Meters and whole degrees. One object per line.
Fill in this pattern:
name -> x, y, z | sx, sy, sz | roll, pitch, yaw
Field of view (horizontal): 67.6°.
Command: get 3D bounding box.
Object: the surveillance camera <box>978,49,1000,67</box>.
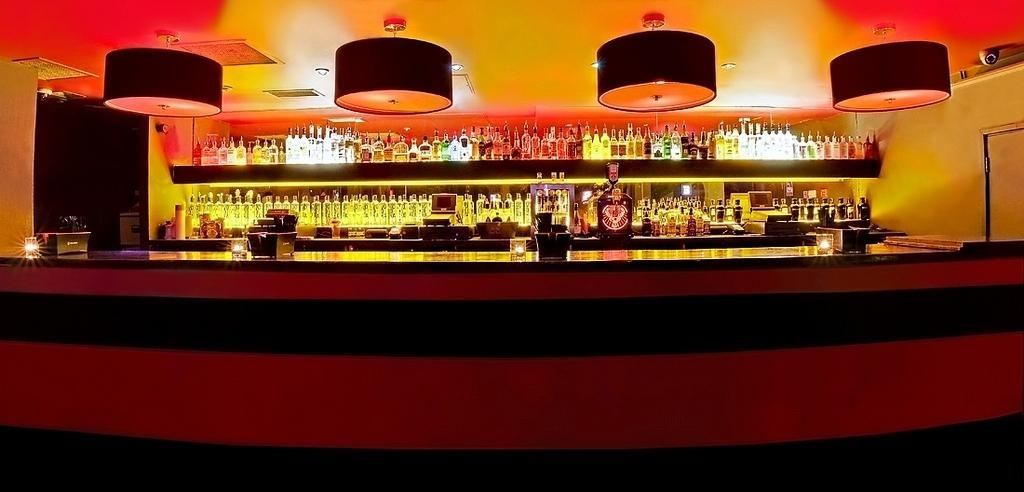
surveillance camera -> 6.015, -2.387, 9.641 | 0.221, 0.160, 0.201 | 2, 5, 34

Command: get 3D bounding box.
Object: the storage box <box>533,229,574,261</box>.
storage box -> 0.444, 0.010, 8.184 | 0.298, 0.198, 0.368 | 3, 3, 44

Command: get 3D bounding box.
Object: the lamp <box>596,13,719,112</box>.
lamp -> 1.689, -2.122, 9.056 | 1.382, 0.809, 1.381 | -8, -10, 42

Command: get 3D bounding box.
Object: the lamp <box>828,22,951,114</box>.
lamp -> 4.585, -1.979, 9.282 | 1.436, 0.472, 1.280 | -2, -4, 5

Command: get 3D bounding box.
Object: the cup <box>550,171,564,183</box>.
cup -> 0.580, -0.963, 10.730 | 0.219, 0.164, 0.129 | 6, 12, 27

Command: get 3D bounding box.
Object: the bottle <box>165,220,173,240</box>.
bottle -> -4.935, -0.229, 10.977 | 0.122, 0.250, 0.176 | -3, 4, -27

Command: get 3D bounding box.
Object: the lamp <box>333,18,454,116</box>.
lamp -> -1.453, -2.174, 9.215 | 1.541, 0.862, 1.413 | -1, -4, 16

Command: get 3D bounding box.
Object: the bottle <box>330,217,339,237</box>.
bottle -> -2.559, -0.252, 10.988 | 0.129, 0.258, 0.308 | -2, 4, -14

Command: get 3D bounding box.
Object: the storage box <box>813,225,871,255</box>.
storage box -> 3.595, -0.060, 8.382 | 0.329, 0.335, 0.564 | 2, 0, -34

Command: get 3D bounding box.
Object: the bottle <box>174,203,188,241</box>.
bottle -> -4.813, -0.353, 11.010 | 0.170, 0.495, 0.277 | -2, 4, -22

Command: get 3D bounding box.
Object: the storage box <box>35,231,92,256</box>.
storage box -> -5.029, -0.029, 8.557 | 0.392, 0.190, 0.353 | 0, 1, 3

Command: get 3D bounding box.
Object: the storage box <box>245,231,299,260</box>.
storage box -> -2.633, 0.006, 8.327 | 0.318, 0.220, 0.443 | -2, -4, 24

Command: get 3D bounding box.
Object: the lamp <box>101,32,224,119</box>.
lamp -> -4.192, -1.888, 9.193 | 1.413, 0.432, 1.257 | -3, -5, 9

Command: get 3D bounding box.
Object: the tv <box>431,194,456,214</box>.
tv -> -0.921, -0.574, 10.933 | 0.486, 0.364, 0.255 | 0, -7, -2
